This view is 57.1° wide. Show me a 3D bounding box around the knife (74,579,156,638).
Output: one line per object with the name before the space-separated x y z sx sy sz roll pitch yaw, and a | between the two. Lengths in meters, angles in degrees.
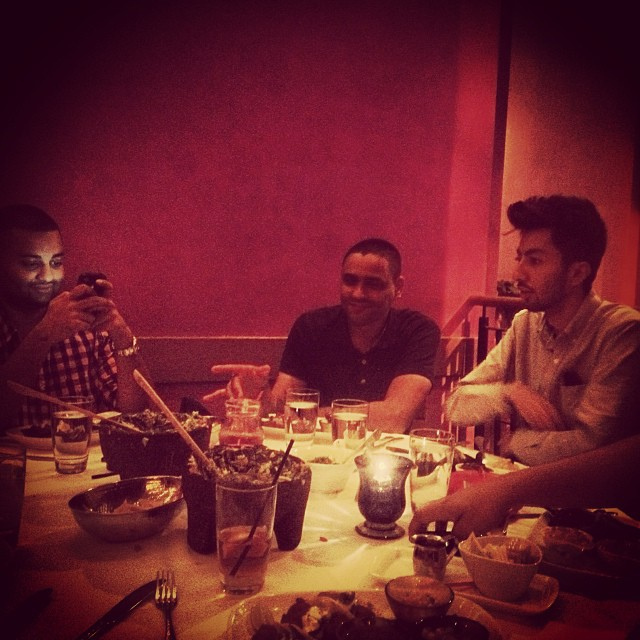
knife | -0.349 0.507 1.037 0.035 0.031 0.181 7 3 28

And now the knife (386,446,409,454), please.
knife | 0.235 0.397 1.837 0.081 0.014 0.020 5 0 33

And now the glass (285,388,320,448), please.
glass | -0.058 0.300 1.884 0.122 0.174 0.114 5 4 2

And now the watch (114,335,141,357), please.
watch | -0.817 0.114 2.478 0.086 0.061 0.084 -9 7 8

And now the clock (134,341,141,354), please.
clock | -0.845 0.123 2.711 0.014 0.065 0.043 -5 4 23

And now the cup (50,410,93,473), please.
cup | -0.706 0.338 1.692 0.104 0.190 0.111 1 -1 0

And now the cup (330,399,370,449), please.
cup | 0.085 0.322 1.857 0.107 0.154 0.125 2 -7 -1

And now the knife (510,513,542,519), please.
knife | 0.493 0.475 1.427 0.044 0.007 0.010 3 -32 -15

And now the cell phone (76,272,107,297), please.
cell phone | -0.966 -0.156 2.485 0.105 0.125 0.115 -3 0 10

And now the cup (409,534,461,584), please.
cup | 0.224 0.466 1.127 0.092 0.103 0.061 -4 -7 22

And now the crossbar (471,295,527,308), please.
crossbar | 1.050 -0.118 3.557 0.109 0.064 0.498 5 3 -11

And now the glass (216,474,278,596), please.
glass | -0.151 0.417 1.152 0.113 0.217 0.124 1 0 -12

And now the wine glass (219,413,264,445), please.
wine glass | -0.228 0.311 1.675 0.089 0.104 0.098 2 -8 -9

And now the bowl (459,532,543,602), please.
bowl | 0.346 0.472 1.127 0.147 0.070 0.143 6 3 0

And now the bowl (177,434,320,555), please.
bowl | -0.164 0.381 1.369 0.363 0.263 0.328 -9 -26 24

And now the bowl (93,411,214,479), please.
bowl | -0.465 0.373 1.559 0.211 0.105 0.227 -1 -24 -1

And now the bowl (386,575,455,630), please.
bowl | 0.163 0.475 0.990 0.109 0.034 0.105 6 3 0

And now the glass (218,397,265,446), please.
glass | -0.234 0.289 1.723 0.118 0.135 0.130 1 -7 -3

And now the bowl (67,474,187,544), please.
bowl | -0.431 0.432 1.352 0.171 0.061 0.180 -16 -33 -11
